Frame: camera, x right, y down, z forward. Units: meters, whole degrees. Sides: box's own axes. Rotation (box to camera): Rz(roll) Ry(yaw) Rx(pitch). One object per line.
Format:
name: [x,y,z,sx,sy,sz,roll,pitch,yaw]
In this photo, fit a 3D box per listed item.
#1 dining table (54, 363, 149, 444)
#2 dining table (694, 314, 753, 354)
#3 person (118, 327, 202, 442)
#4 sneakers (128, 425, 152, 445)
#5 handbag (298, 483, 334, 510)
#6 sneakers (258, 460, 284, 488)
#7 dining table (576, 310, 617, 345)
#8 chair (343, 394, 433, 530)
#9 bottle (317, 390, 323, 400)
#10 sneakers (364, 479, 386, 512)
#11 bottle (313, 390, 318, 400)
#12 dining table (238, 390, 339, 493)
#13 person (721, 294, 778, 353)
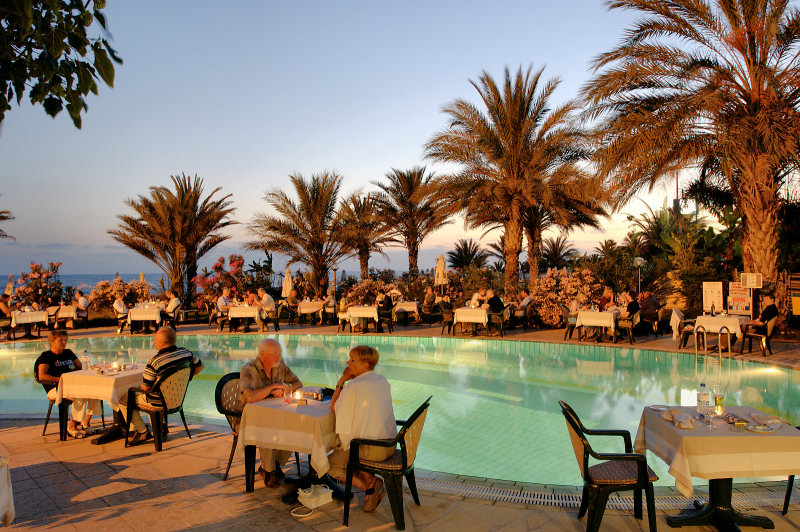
dining table: [-4.328,2.045,7.968,0.866,0.449,0.750,-1,-4,23]
dining table: [8.019,1.545,13.621,1.123,0.874,1.164,1,4,35]
person: [-3.497,1.797,7.962,0.998,1.727,0.869,2,3,8]
sneakers: [-3.792,2.489,7.975,0.135,0.136,0.312,1,6,1]
handbag: [-0.958,2.664,6.258,0.247,0.088,0.241,0,2,-41]
sneakers: [-1.583,2.583,6.687,0.264,0.213,0.522,1,-9,-19]
dining table: [5.790,1.723,16.088,0.961,0.629,1.002,2,5,25]
chair: [-0.170,2.187,6.084,0.914,1.307,0.665,1,-4,-6]
bottle: [-0.970,1.613,6.691,0.073,0.088,0.079,2,3,5]
sneakers: [-0.300,2.624,6.253,0.167,0.434,0.163,17,-6,-35]
bottle: [-1.018,1.601,6.672,0.091,0.093,0.070,0,0,17]
dining table: [-1.263,1.956,6.207,0.890,0.485,0.930,1,-6,23]
person: [8.930,1.473,13.663,0.950,1.445,0.942,-3,4,-17]
